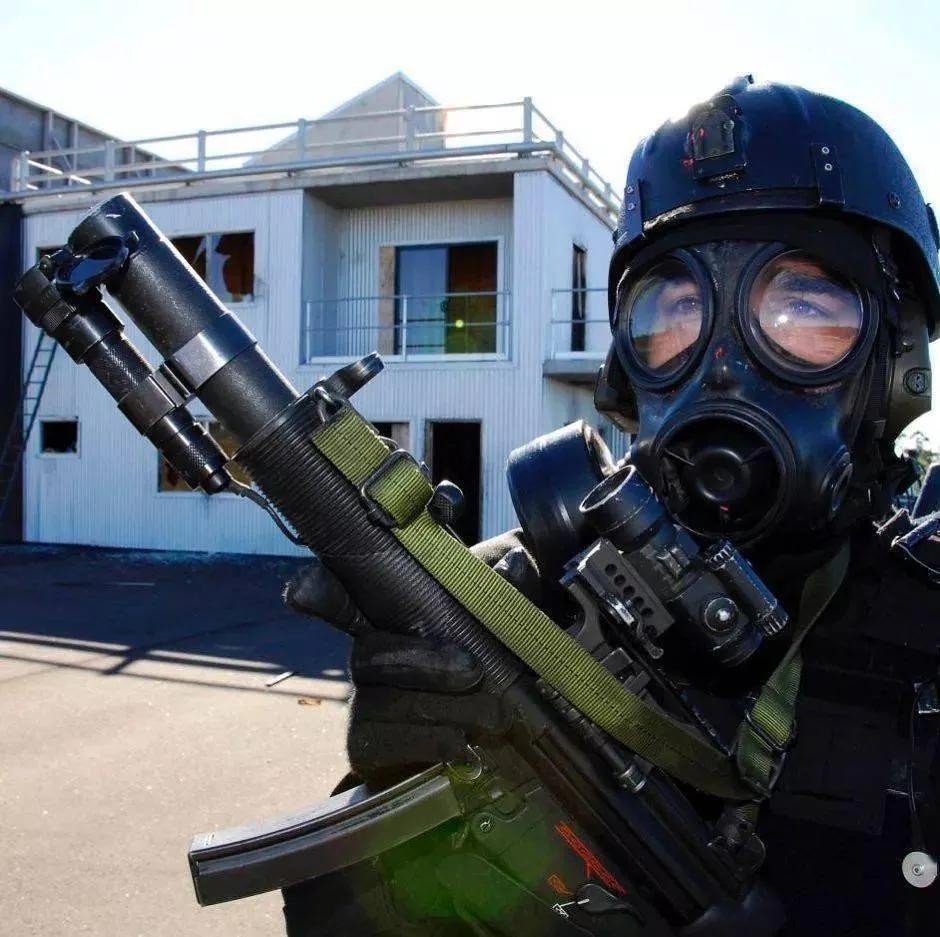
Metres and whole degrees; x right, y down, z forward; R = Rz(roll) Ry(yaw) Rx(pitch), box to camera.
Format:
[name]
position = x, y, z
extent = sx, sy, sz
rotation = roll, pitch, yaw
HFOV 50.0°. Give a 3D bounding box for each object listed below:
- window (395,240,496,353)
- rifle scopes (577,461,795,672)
[window]
position = -0.317, -2.699, 16.114
extent = 1.824, 1.954, 0.095
rotation = 0, -2, 21
[rifle scopes]
position = 0.467, 0.228, 2.269
extent = 0.557, 0.280, 0.252
rotation = 47, 0, -3
